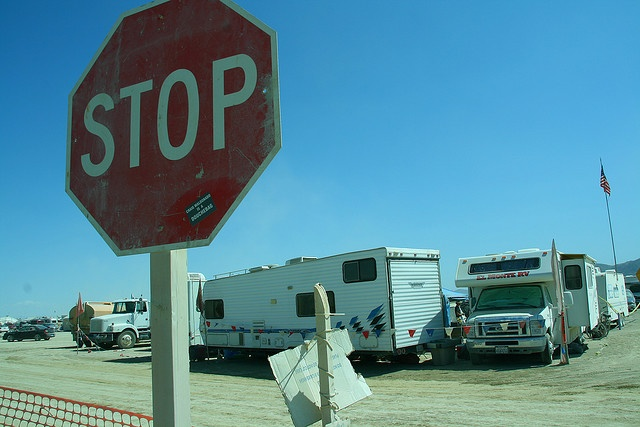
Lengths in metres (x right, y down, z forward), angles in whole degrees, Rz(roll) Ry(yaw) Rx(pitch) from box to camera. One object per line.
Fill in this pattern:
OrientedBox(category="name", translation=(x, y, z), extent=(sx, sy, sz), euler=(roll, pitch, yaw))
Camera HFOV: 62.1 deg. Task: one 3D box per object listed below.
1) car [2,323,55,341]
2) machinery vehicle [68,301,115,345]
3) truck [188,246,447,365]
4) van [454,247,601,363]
OrientedBox(category="car", translation=(-21.078, 8.642, 38.739), extent=(2.862, 1.095, 1.775), euler=(-1, -8, -11))
OrientedBox(category="machinery vehicle", translation=(-12.310, 5.429, 27.397), extent=(1.329, 1.874, 2.068), euler=(3, -6, -36))
OrientedBox(category="truck", translation=(-0.360, 2.973, 17.392), extent=(8.389, 3.014, 2.837), euler=(-7, -10, 32))
OrientedBox(category="van", translation=(6.066, 2.581, 15.183), extent=(3.968, 3.069, 2.763), euler=(-2, -8, 0))
